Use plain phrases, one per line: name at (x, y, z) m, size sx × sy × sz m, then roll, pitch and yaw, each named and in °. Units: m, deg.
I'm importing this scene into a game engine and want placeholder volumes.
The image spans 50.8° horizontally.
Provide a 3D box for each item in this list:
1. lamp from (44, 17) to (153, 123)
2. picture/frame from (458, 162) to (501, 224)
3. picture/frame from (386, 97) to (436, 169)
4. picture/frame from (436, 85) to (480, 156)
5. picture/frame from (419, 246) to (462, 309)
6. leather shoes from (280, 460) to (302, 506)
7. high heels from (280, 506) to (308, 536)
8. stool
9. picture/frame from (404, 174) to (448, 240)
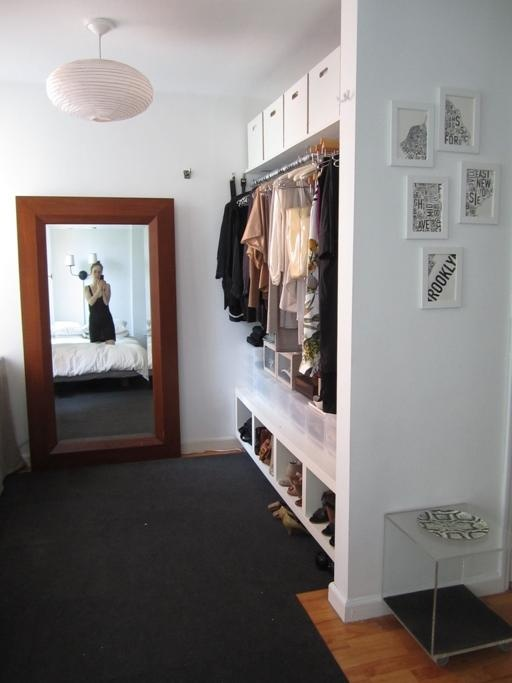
lamp at (-0.692, -1.108, 2.379) m, size 0.364 × 0.168 × 0.374 m, roll 4°, pitch 7°, yaw 33°
picture/frame at (0.789, -0.539, 1.917) m, size 0.177 × 0.281 × 0.020 m, roll -4°, pitch 9°, yaw -18°
picture/frame at (0.516, -0.713, 1.815) m, size 0.202 × 0.278 × 0.020 m, roll -2°, pitch 5°, yaw -23°
picture/frame at (0.694, -0.776, 1.862) m, size 0.199 × 0.286 × 0.020 m, roll -3°, pitch 8°, yaw -20°
picture/frame at (0.650, -0.238, 1.912) m, size 0.172 × 0.275 × 0.026 m, roll -3°, pitch 10°, yaw -14°
leather shoes at (0.190, 0.687, 2.661) m, size 0.058 × 0.134 × 0.176 m, roll -3°, pitch 8°, yaw -15°
high heels at (0.177, 0.895, 2.723) m, size 0.056 × 0.065 × 0.154 m, roll -8°, pitch 24°, yaw -20°
stool at (0.691, 0.837, 1.915) m, size 0.365 × 0.463 × 0.396 m, roll -5°, pitch 10°, yaw -18°
picture/frame at (0.583, -0.476, 1.861) m, size 0.188 × 0.297 × 0.028 m, roll -2°, pitch 5°, yaw -20°
